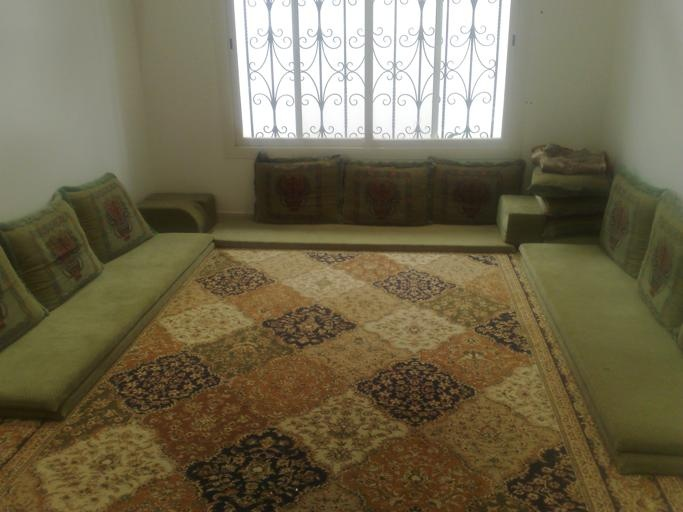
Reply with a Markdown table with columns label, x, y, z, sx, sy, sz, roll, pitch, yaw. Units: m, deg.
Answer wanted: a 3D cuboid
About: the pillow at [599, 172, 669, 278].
| label | x | y | z | sx | sy | sz | roll | pitch | yaw |
| --- | --- | --- | --- | --- | --- | --- | --- | --- | --- |
| pillow | 1.999 | -0.193 | 3.238 | 0.226 | 0.604 | 0.646 | 8 | 18 | 10 |
